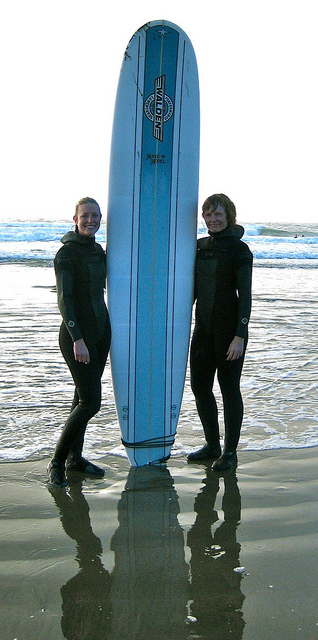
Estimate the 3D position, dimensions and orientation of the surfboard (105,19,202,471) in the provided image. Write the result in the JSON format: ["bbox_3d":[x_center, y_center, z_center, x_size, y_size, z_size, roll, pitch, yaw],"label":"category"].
[{"bbox_3d":[-0.043,-0.440,3.488,0.532,2.465,0.608,0,10,0],"label":"surfboard"}]

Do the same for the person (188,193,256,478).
[{"bbox_3d":[0.322,0.058,3.479,0.357,1.499,0.764,1,10,7],"label":"person"}]

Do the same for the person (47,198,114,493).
[{"bbox_3d":[-0.422,0.107,3.203,0.340,1.449,0.616,-1,10,-5],"label":"person"}]
